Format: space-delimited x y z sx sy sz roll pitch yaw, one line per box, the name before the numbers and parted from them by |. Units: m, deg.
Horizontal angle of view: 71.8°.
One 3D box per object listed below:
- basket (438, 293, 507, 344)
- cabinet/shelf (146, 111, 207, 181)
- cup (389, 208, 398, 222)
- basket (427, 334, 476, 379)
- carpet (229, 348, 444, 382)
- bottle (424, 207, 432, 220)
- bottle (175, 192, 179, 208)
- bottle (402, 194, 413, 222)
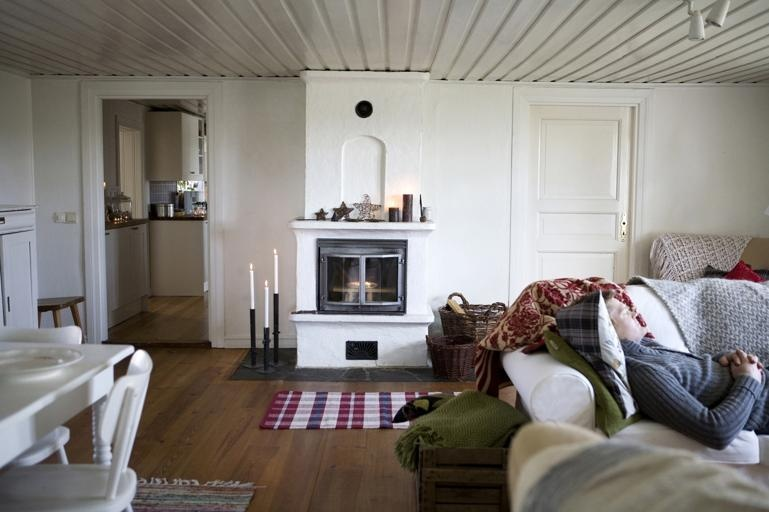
basket | 0.916 0.602 5.318 0.547 0.371 0.699 4 3 12
cabinet/shelf | -3.294 -1.767 8.717 0.580 1.046 1.718 3 9 -3
cup | 0.094 -0.403 5.068 0.110 0.131 0.074 -1 11 -4
basket | 0.599 0.923 4.901 0.361 0.310 0.387 1 -5 -26
carpet | -0.470 1.053 5.058 1.872 0.052 0.733 0 11 0
bottle | 0.424 -0.432 5.265 0.050 0.140 0.160 -1 0 13
bottle | -3.218 -0.879 8.295 0.043 0.223 0.135 2 11 11
bottle | 0.212 -0.462 5.054 0.081 0.256 0.065 1 11 4
